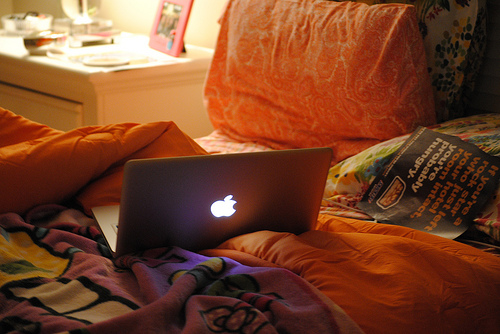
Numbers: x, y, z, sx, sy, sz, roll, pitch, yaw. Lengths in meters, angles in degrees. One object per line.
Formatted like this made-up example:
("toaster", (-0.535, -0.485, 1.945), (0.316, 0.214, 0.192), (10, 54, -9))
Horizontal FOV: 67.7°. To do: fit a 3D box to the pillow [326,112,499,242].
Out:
("pillow", (0.501, 0.068, 1.198), (0.410, 0.136, 0.469), (-36, 19, -36))
